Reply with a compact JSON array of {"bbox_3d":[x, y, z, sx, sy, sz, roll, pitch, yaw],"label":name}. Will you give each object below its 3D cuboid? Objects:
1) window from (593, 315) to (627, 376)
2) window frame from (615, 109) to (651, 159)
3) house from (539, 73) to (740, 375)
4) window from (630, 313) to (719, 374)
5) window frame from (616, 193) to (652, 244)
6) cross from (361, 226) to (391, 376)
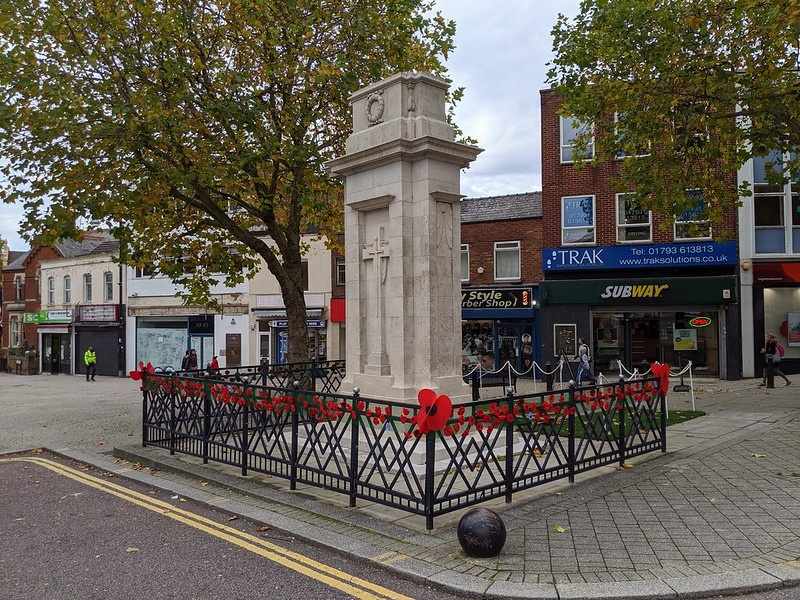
[{"bbox_3d":[7.831,1.724,29.953,1.251,2.613,0.172,0,20,10],"label":"window"},{"bbox_3d":[6.476,-4.669,22.084,0.963,0.063,1.715,-11,-26,-2],"label":"window frame"},{"bbox_3d":[9.183,-1.247,31.375,7.211,12.732,5.658,-2,-12,22],"label":"house"},{"bbox_3d":[9.848,1.495,28.922,3.005,2.551,1.111,-1,8,13],"label":"window"},{"bbox_3d":[8.605,-3.029,29.307,1.211,1.951,0.126,-1,-18,16],"label":"window frame"},{"bbox_3d":[-0.502,-0.133,17.227,0.362,2.482,0.720,6,9,40],"label":"cross"}]
